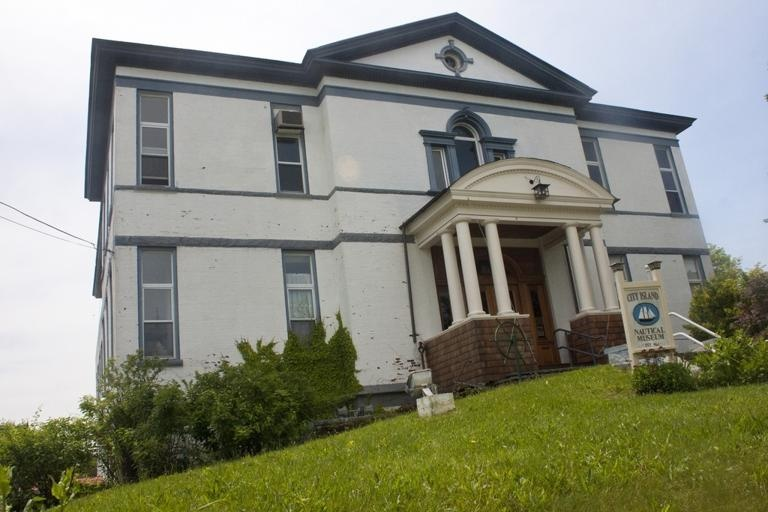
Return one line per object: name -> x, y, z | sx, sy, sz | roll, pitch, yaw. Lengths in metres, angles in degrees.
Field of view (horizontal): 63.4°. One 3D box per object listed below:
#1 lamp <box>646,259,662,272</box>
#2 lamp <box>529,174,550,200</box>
lamp -> 8.133, 0.328, 18.885 | 0.463, 0.444, 0.467 | -1, -6, 20
lamp -> 4.954, -2.139, 19.782 | 0.609, 0.783, 0.470 | -5, 5, -33
